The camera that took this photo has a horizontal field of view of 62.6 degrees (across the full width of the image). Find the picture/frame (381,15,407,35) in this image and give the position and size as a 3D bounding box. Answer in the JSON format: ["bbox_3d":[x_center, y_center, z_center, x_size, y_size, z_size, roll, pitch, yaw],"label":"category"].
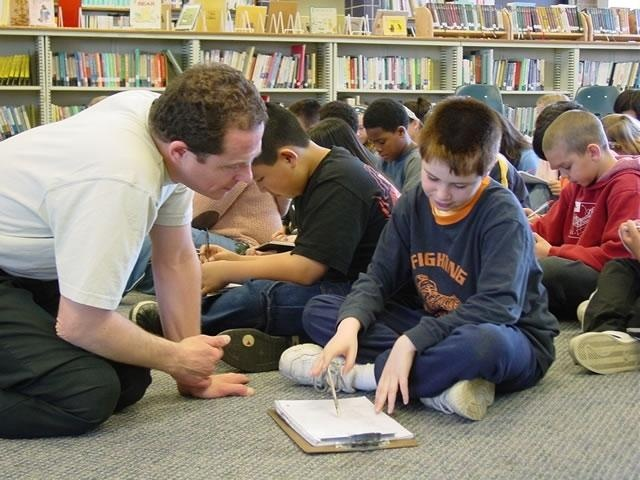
[{"bbox_3d":[0.713,-2.034,5.035,0.218,0.209,0.053,3,-9,-4],"label":"picture/frame"}]

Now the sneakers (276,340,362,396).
[{"bbox_3d":[0.009,0.370,1.592,0.266,0.103,0.111,13,4,1],"label":"sneakers"}]

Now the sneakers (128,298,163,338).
[{"bbox_3d":[-0.548,0.248,1.663,0.130,0.099,0.071,23,-46,-15],"label":"sneakers"}]

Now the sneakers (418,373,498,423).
[{"bbox_3d":[0.397,0.438,1.480,0.189,0.106,0.250,-1,-13,-26],"label":"sneakers"}]

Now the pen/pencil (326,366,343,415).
[{"bbox_3d":[0.037,0.400,1.405,0.019,0.171,0.018,-10,-22,0],"label":"pen/pencil"}]
